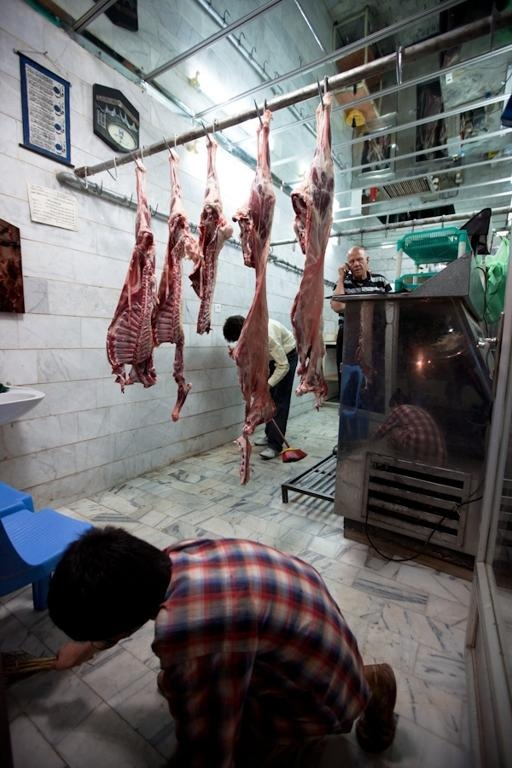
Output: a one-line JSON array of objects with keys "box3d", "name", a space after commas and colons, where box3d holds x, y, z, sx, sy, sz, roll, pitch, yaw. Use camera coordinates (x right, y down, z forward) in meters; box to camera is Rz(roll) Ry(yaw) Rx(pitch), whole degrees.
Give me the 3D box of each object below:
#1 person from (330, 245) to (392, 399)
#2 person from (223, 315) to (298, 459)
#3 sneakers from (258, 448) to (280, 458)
[{"box3d": [0.836, -0.392, 4.065, 0.509, 1.414, 0.371, -2, 28, 5], "name": "person"}, {"box3d": [0.060, 0.077, 4.152, 0.521, 1.329, 1.203, 1, 15, 6], "name": "person"}, {"box3d": [0.118, 0.605, 4.364, 0.068, 0.086, 0.197, -6, -16, 24], "name": "sneakers"}]
